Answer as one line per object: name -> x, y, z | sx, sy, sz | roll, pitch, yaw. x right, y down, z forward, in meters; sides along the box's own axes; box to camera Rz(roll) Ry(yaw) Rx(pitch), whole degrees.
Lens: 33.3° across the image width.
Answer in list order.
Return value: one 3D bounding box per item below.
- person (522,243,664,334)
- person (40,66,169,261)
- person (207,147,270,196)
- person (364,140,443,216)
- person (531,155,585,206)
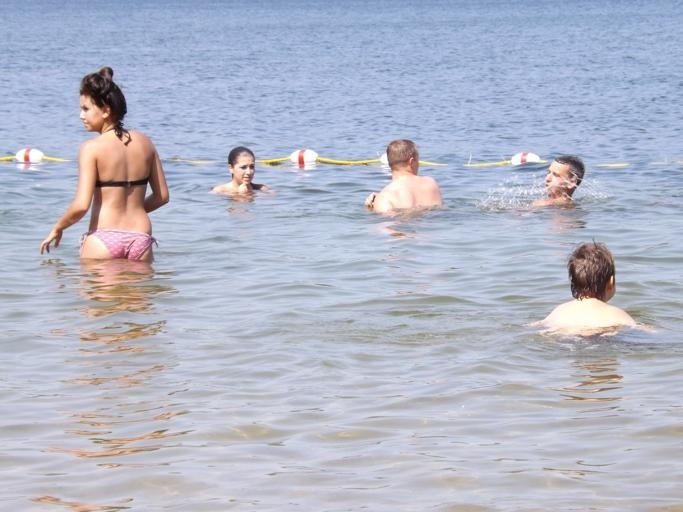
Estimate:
person -> 2.428, 0.351, 10.643 | 0.920, 0.711, 1.419 | -9, 9, -34
person -> -2.485, -0.918, 12.153 | 1.081, 2.167, 0.531 | -16, 24, -42
person -> -1.541, -1.244, 16.908 | 0.549, 0.701, 0.712 | -8, 17, -26
person -> 0.895, -1.071, 15.403 | 1.011, 0.996, 0.693 | -2, 16, -8
person -> 3.056, -1.046, 16.131 | 0.583, 0.687, 0.589 | 6, 16, 22
